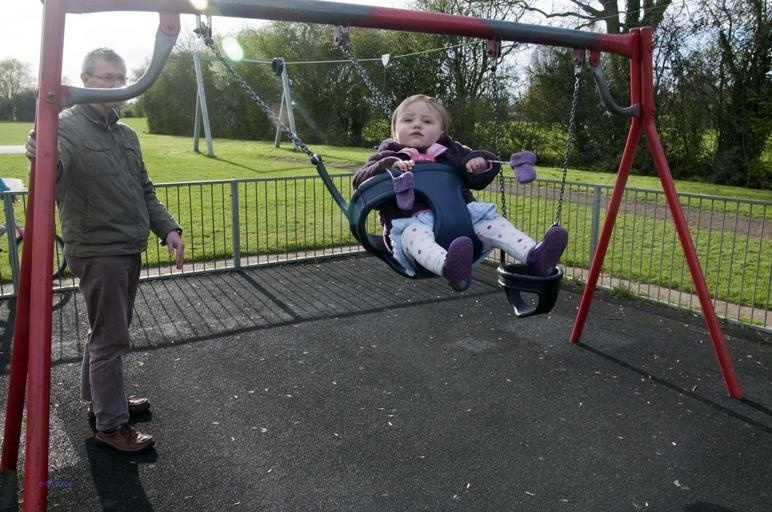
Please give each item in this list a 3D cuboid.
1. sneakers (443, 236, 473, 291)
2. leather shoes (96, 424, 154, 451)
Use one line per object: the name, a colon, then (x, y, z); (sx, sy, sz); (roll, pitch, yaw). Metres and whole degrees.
sneakers: (0.573, 0.074, 4.674); (0.261, 0.454, 0.162); (-3, 14, -9)
leather shoes: (-2.111, 1.480, 4.920); (0.426, 0.223, 0.202); (5, 7, 4)
